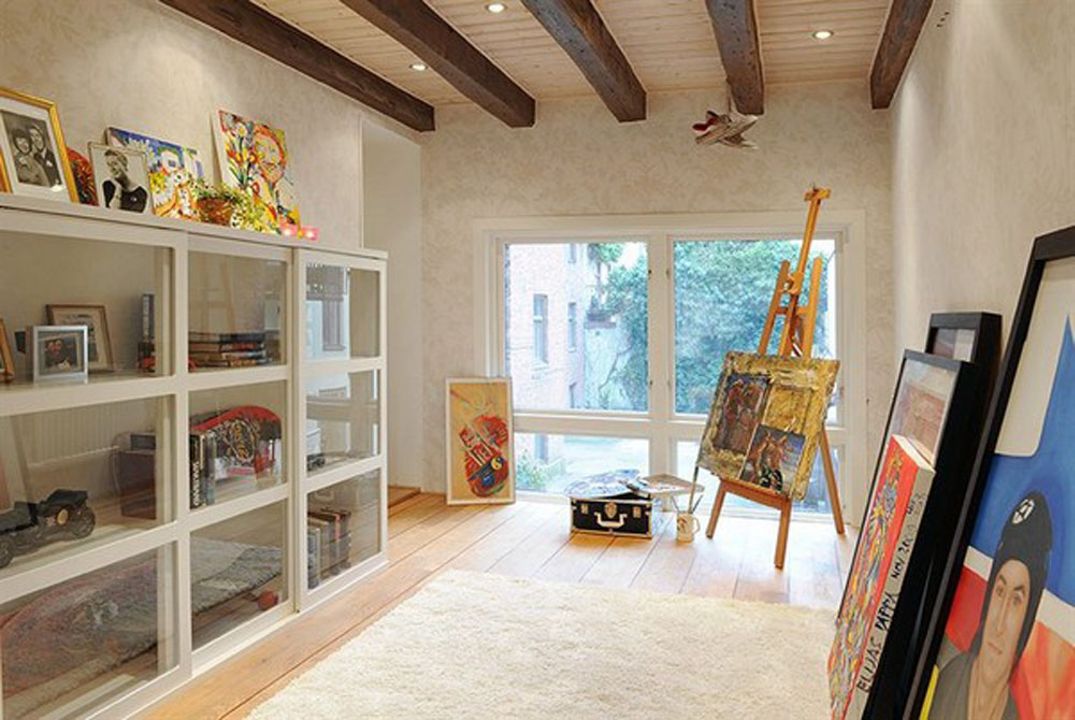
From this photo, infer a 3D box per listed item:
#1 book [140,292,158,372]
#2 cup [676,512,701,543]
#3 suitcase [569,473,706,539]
[{"bbox_3d":[-1.634,-0.115,3.047,0.023,0.335,0.091,4,11,26],"label":"book"},{"bbox_3d":[1.041,1.100,4.807,0.222,0.219,0.143,2,0,1],"label":"cup"},{"bbox_3d":[0.623,0.974,4.886,0.566,0.215,0.538,-1,-1,22],"label":"suitcase"}]
